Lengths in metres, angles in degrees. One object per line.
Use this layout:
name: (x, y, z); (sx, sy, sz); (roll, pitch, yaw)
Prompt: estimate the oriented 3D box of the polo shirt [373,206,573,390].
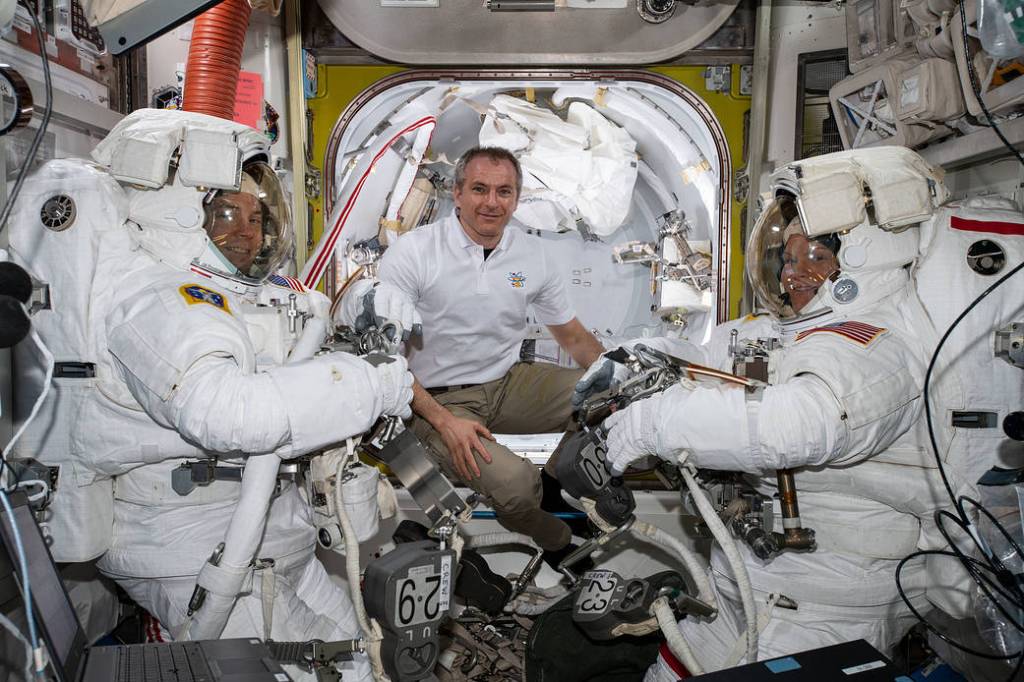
polo shirt: (-0.193, -0.229, 4.494); (1.251, 0.933, 0.522); (-1, 14, -19)
